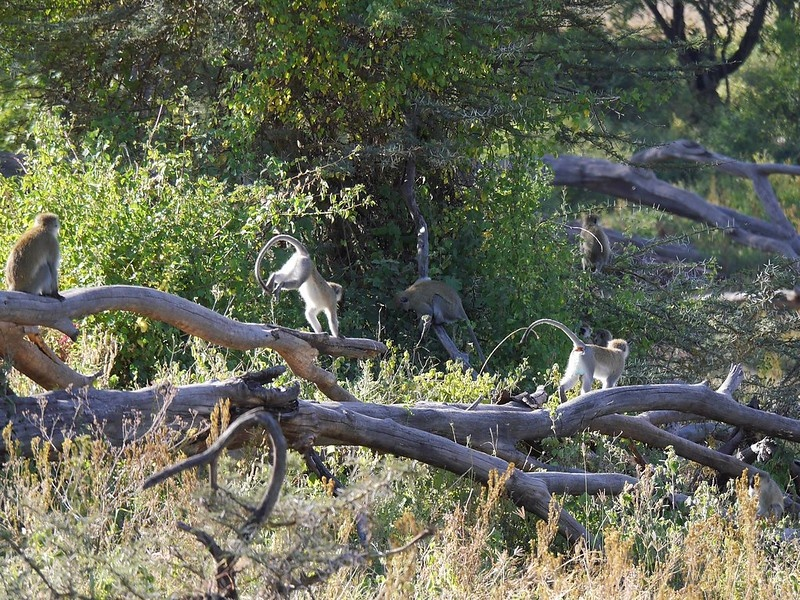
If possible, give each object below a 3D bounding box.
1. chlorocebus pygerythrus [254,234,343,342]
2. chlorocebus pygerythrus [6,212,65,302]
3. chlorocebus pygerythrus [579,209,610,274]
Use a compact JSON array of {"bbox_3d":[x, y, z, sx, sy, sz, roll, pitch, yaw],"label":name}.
[{"bbox_3d":[-1.333,-0.113,15.968,0.351,0.745,1.544,-3,-43,33],"label":"chlorocebus pygerythrus"},{"bbox_3d":[-3.753,-0.468,12.884,0.518,0.756,0.569,-3,7,-18],"label":"chlorocebus pygerythrus"},{"bbox_3d":[3.132,-0.858,20.282,0.295,1.294,0.573,-2,22,6],"label":"chlorocebus pygerythrus"}]
